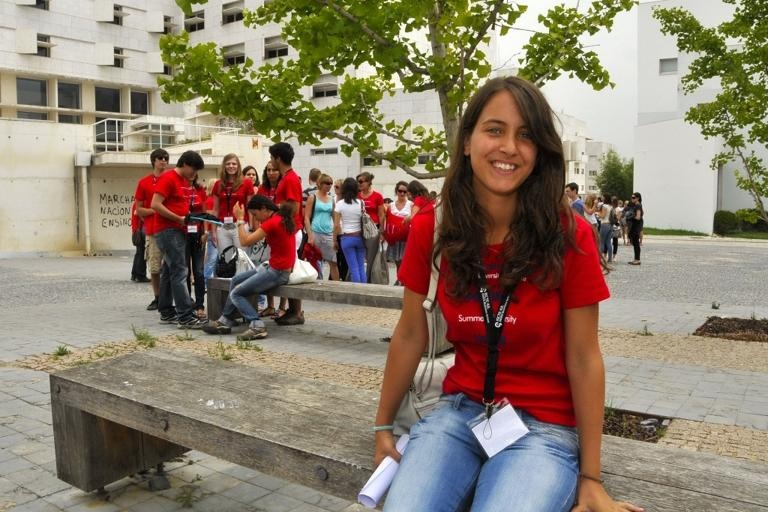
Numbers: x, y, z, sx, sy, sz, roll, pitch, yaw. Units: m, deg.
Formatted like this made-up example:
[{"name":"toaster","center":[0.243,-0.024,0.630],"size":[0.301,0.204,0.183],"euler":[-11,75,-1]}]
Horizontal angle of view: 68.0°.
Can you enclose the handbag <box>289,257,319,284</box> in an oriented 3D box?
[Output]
[{"name":"handbag","center":[-1.243,0.231,8.699],"size":[0.360,0.324,0.184],"euler":[12,-40,-39]}]

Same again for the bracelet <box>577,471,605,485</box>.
[{"name":"bracelet","center":[1.018,1.077,2.762],"size":[0.092,0.027,0.064],"euler":[17,-13,-19]}]

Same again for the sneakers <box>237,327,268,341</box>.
[{"name":"sneakers","center":[-1.914,1.133,8.212],"size":[0.419,0.181,0.150],"euler":[4,-6,-28]}]

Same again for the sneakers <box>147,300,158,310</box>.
[{"name":"sneakers","center":[-4.242,0.923,10.475],"size":[0.106,0.195,0.289],"euler":[-1,-10,10]}]

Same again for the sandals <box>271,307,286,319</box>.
[{"name":"sandals","center":[-1.792,0.968,9.668],"size":[0.158,0.170,0.457],"euler":[-4,-6,8]}]

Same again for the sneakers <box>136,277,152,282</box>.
[{"name":"sneakers","center":[-6.152,0.596,14.533],"size":[0.393,0.158,0.130],"euler":[-1,1,-6]}]

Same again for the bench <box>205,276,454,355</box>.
[{"name":"bench","center":[-0.815,0.691,8.577],"size":[3.744,0.725,1.019],"euler":[8,17,-21]}]

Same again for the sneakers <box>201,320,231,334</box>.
[{"name":"sneakers","center":[-2.539,1.094,8.627],"size":[0.477,0.167,0.226],"euler":[10,26,-1]}]

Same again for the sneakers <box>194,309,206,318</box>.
[{"name":"sneakers","center":[-3.093,0.954,9.528],"size":[0.131,0.132,0.340],"euler":[1,-7,-21]}]
